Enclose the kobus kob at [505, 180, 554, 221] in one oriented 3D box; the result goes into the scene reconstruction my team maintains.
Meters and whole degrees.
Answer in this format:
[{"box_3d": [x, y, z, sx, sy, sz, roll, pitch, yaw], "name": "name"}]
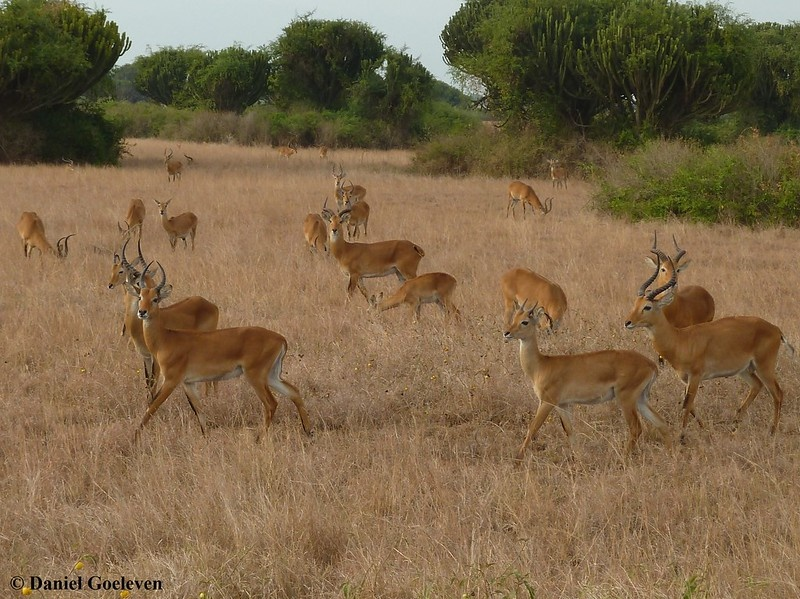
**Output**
[{"box_3d": [2.948, -2.265, 23.510, 1.019, 0.860, 2.689, 2, 17, 7], "name": "kobus kob"}]
